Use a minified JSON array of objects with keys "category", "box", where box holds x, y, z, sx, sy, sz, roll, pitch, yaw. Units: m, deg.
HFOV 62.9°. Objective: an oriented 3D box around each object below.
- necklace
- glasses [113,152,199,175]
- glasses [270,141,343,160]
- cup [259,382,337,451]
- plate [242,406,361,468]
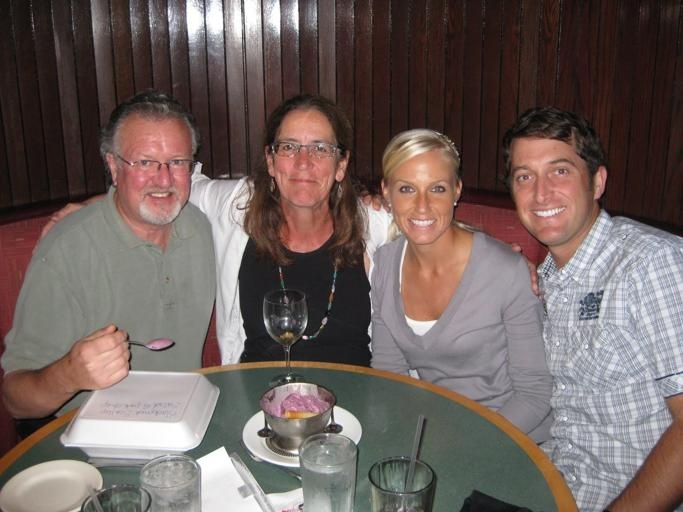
[{"category":"necklace","box":[-0.152,0.222,2.547,0.206,0.374,0.083,-1,4,4]},{"category":"glasses","box":[-0.832,-0.415,2.508,0.335,0.091,0.124,-7,18,-18]},{"category":"glasses","box":[-0.169,-0.527,2.769,0.342,0.081,0.110,-2,17,-1]},{"category":"cup","box":[-0.139,0.536,1.748,0.181,0.102,0.208,3,-5,35]},{"category":"plate","box":[-0.136,0.556,1.875,0.403,0.069,0.413,-4,-2,-16]}]
